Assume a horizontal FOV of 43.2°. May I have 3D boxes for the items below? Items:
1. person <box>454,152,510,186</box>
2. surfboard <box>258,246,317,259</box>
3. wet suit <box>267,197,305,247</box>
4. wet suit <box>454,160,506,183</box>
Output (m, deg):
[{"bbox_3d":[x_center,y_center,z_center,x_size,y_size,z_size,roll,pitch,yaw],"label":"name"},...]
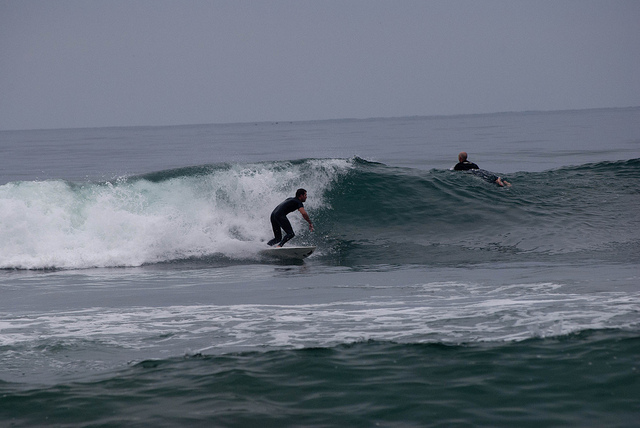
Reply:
[{"bbox_3d":[4.817,-1.287,24.781,0.920,0.639,1.753,-15,31,-16],"label":"person"},{"bbox_3d":[-0.677,0.906,19.228,1.613,0.285,0.205,1,27,19],"label":"surfboard"},{"bbox_3d":[-0.868,0.176,19.464,0.913,1.197,0.470,-4,14,-2],"label":"wet suit"},{"bbox_3d":[4.712,-1.352,24.631,0.881,0.467,1.547,-8,12,-25],"label":"wet suit"}]
